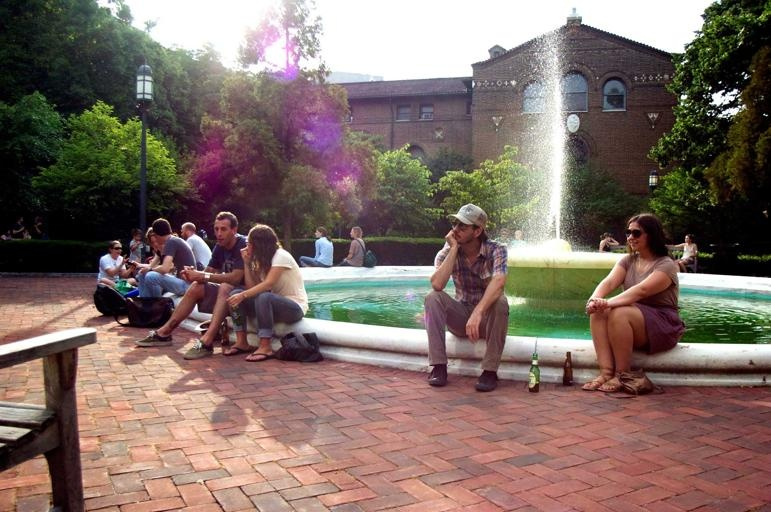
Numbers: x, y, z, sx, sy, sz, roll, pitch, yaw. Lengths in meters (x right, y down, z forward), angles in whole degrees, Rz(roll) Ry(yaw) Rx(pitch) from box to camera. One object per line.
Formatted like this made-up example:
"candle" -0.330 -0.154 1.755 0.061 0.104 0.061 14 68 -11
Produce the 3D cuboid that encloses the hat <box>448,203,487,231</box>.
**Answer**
"hat" 0.904 -0.429 5.665 0.344 0.268 0.346 1 3 -1

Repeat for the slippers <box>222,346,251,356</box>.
"slippers" -1.893 1.228 6.681 0.296 0.073 0.132 3 -7 -26

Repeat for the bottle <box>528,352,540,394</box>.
"bottle" 1.551 1.207 5.422 0.136 0.338 0.416 2 4 17

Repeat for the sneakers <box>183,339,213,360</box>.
"sneakers" -2.310 1.174 6.482 0.365 0.210 0.181 -2 5 -42

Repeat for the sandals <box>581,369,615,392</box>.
"sandals" 2.122 1.278 5.327 0.412 0.165 0.140 -5 1 -18

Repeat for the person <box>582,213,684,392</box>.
"person" 2.518 0.465 5.371 1.046 1.814 0.593 -1 4 -28

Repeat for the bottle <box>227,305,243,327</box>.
"bottle" -1.918 0.793 6.703 0.190 0.301 0.193 1 4 0

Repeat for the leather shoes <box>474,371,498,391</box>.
"leather shoes" 1.071 1.289 5.369 0.342 0.188 0.150 -2 5 -40

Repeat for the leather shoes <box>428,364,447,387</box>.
"leather shoes" 0.567 1.253 5.505 0.246 0.222 0.205 0 4 -8

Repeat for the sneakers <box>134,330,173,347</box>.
"sneakers" -3.139 1.162 7.145 0.510 0.201 0.186 4 -7 -14

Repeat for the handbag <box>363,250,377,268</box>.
"handbag" -0.537 0.110 17.666 0.417 0.736 0.786 -17 0 2

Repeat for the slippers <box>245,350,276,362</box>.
"slippers" -1.502 1.216 6.366 0.147 0.064 0.291 -1 -3 43

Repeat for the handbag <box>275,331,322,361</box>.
"handbag" -1.062 1.131 6.409 0.555 0.321 0.355 0 4 -12

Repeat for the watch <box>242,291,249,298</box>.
"watch" -1.760 0.492 6.527 0.076 0.024 0.073 -19 11 -28

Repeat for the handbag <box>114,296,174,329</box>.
"handbag" -3.954 0.945 8.565 0.896 0.401 0.652 -4 -5 0

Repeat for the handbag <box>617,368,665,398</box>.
"handbag" 2.555 1.273 5.187 0.355 0.143 0.248 0 4 -18

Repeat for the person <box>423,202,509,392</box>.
"person" 0.867 0.409 5.588 0.849 1.915 0.729 1 4 7

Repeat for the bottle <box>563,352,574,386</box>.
"bottle" 1.927 1.189 5.478 0.116 0.346 0.141 2 4 15
